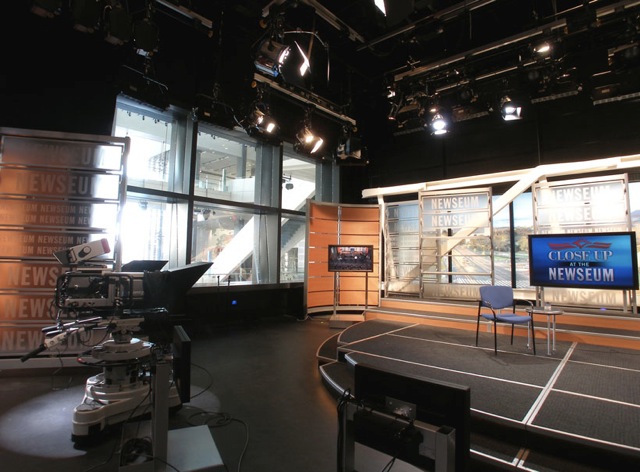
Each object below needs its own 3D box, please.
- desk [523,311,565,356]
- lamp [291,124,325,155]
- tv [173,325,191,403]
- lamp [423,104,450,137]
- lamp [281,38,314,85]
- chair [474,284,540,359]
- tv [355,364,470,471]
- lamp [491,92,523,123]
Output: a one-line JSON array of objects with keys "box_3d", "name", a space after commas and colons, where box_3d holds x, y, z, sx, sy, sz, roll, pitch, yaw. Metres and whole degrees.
[{"box_3d": [3.292, 1.393, 6.725, 0.513, 0.624, 0.522, -9, -10, 20], "name": "desk"}, {"box_3d": [-0.233, -1.881, 8.805, 0.715, 0.415, 0.417, 40, 37, 17], "name": "lamp"}, {"box_3d": [-1.657, 1.616, 5.573, 0.084, 0.834, 0.851, -9, -26, -19], "name": "tv"}, {"box_3d": [2.175, -2.176, 8.424, 0.404, 0.445, 0.692, -2, -2, 14], "name": "lamp"}, {"box_3d": [-0.380, -2.879, 7.403, 0.453, 0.498, 0.864, -4, 31, 6], "name": "lamp"}, {"box_3d": [2.872, 1.234, 6.977, 0.701, 1.022, 0.771, 1, -6, -7], "name": "chair"}, {"box_3d": [0.808, 1.668, 4.064, 0.914, 0.884, 0.124, 1, -2, 33], "name": "tv"}, {"box_3d": [3.315, -2.280, 8.030, 0.517, 0.388, 0.356, -2, -2, 14], "name": "lamp"}]
